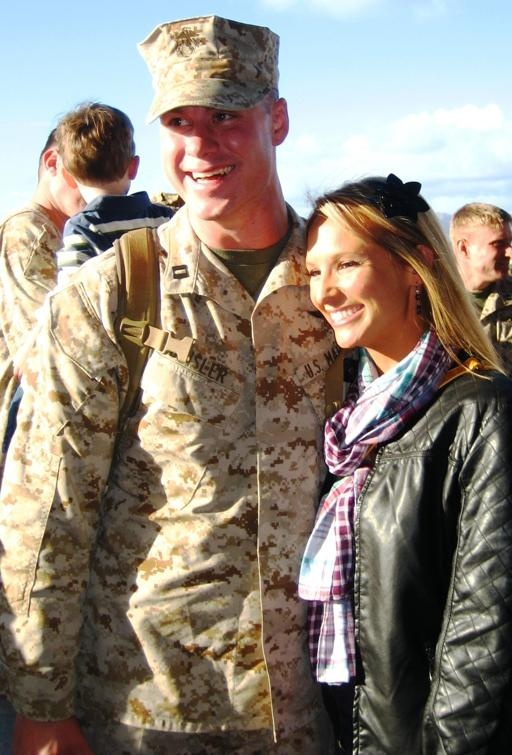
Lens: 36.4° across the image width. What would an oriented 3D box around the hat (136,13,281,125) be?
[{"bbox_3d":[-0.125,-0.895,2.294,0.410,0.217,0.476,-2,17,8],"label":"hat"}]
